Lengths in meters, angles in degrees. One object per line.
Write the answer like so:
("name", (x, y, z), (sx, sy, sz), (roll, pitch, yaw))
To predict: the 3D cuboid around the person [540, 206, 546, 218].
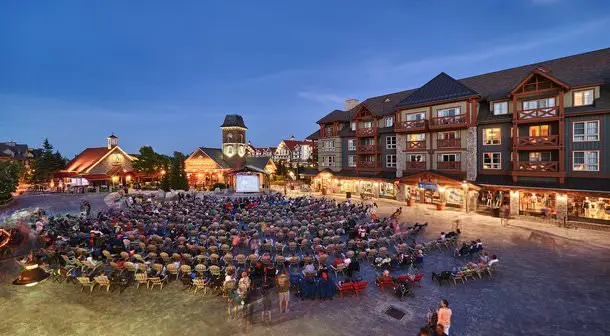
("person", (30.744, 5.599, 46.580), (0.810, 1.345, 0.331), (-1, 0, -11))
